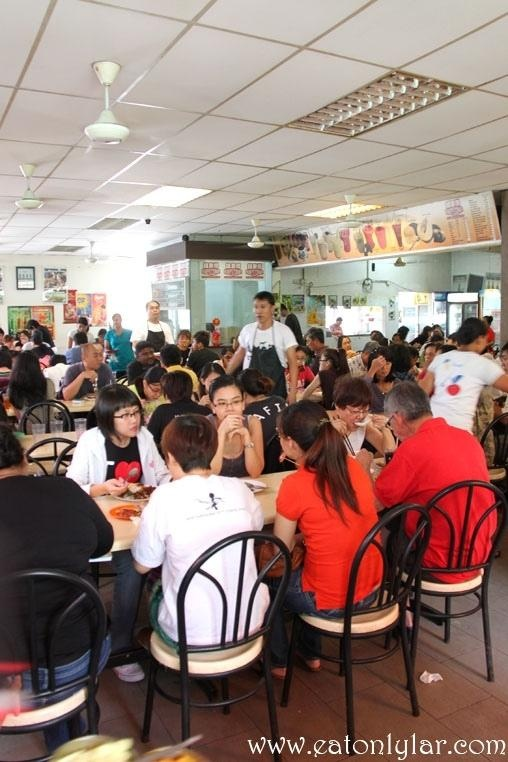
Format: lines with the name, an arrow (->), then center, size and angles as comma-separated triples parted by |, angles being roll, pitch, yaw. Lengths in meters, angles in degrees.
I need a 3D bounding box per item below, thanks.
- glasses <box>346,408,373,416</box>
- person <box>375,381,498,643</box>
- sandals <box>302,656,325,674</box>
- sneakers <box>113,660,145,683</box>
glasses -> 0.490, 0.155, 2.673 | 0.078, 0.023, 0.077 | -1, 9, -32
person -> 0.675, 0.433, 2.176 | 0.432, 0.833, 0.481 | -6, 8, -16
sandals -> 0.231, 1.126, 2.141 | 0.040, 0.046, 0.118 | 0, -7, -5
sneakers -> -0.469, 1.098, 2.089 | 0.083, 0.049, 0.135 | 6, -10, -27
